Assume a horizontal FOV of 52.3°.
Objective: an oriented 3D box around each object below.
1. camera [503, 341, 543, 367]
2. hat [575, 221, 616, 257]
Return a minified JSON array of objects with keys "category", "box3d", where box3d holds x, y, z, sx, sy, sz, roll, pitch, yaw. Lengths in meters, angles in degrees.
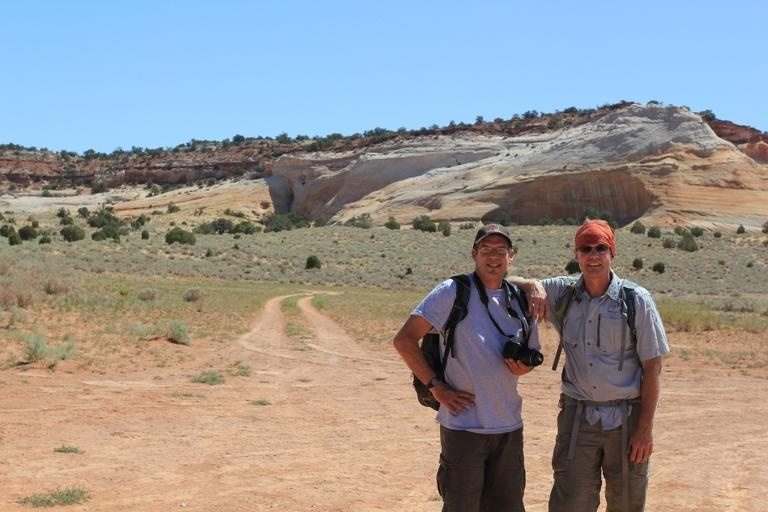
[{"category":"camera","box3d":[2.062,1.459,11.691,0.478,0.272,0.480,14,9,18]},{"category":"hat","box3d":[3.347,-0.279,12.401,0.658,0.513,0.628,0,-3,12]}]
